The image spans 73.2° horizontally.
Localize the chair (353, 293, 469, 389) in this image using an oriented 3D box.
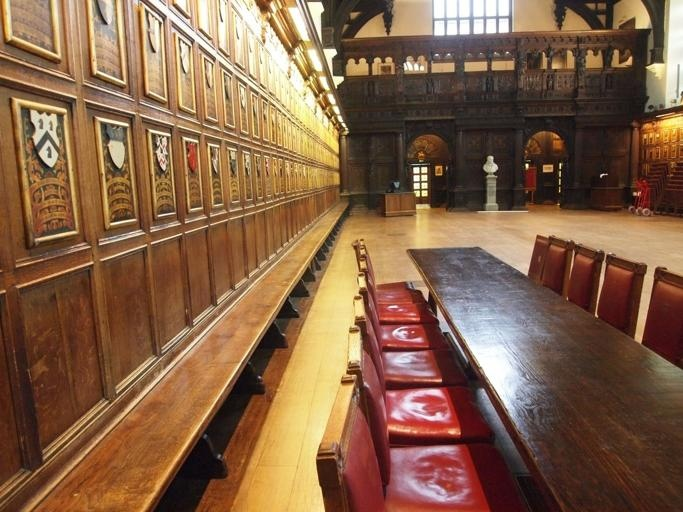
[{"bbox_3d":[0.487,0.583,3.096,0.571,0.886,0.487,-5,19,1],"label":"chair"}]
